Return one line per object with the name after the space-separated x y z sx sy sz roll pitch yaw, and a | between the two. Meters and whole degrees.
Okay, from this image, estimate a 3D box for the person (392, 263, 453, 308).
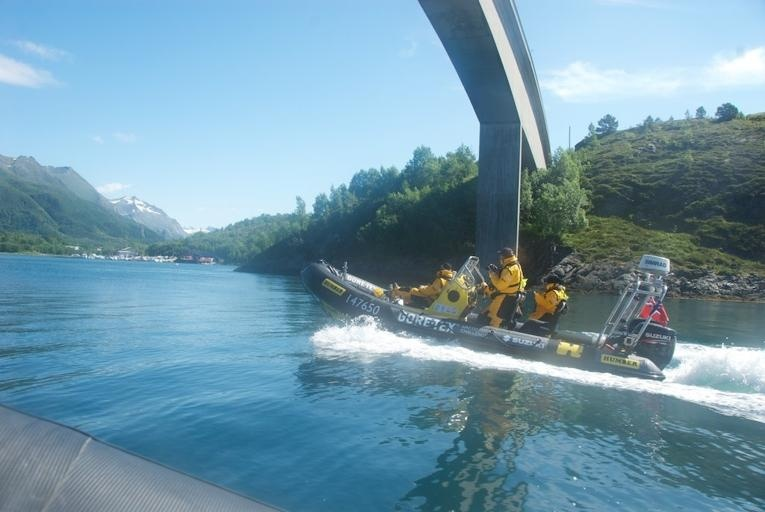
1.136 0.745 14.494 1.370 1.563 0.876 24 4 8 | person

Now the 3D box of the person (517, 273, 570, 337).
4.119 1.152 12.416 1.014 1.521 0.855 5 9 20 | person
